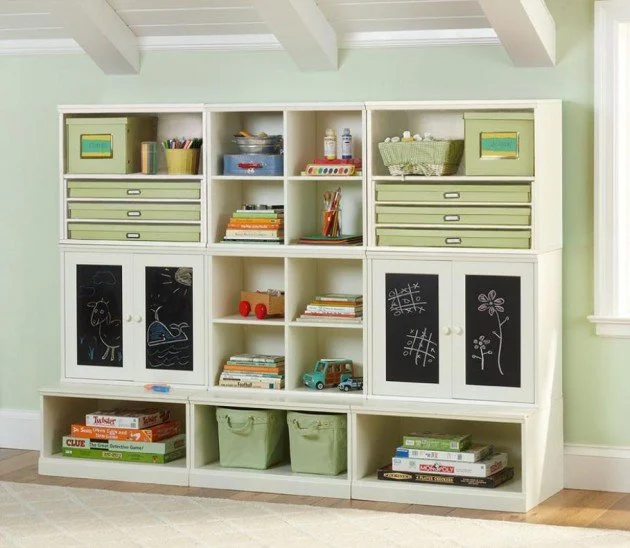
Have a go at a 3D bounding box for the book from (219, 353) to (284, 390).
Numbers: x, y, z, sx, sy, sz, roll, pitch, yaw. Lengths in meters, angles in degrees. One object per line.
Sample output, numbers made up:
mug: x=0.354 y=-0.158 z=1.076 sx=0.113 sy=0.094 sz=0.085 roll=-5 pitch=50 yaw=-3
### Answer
book: x=-0.310 y=0.492 z=3.289 sx=0.286 sy=0.097 sz=0.183 roll=1 pitch=2 yaw=17

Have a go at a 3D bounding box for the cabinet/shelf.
cabinet/shelf: x=-0.023 y=0.161 z=3.129 sx=2.636 sy=1.487 sz=0.608 roll=1 pitch=2 yaw=16

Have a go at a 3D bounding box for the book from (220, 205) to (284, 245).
book: x=-0.296 y=-0.242 z=3.258 sx=0.268 sy=0.123 sz=0.229 roll=1 pitch=3 yaw=20

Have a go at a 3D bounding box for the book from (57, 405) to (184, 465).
book: x=-0.959 y=0.831 z=3.326 sx=0.502 sy=0.165 sz=0.309 roll=1 pitch=1 yaw=16
